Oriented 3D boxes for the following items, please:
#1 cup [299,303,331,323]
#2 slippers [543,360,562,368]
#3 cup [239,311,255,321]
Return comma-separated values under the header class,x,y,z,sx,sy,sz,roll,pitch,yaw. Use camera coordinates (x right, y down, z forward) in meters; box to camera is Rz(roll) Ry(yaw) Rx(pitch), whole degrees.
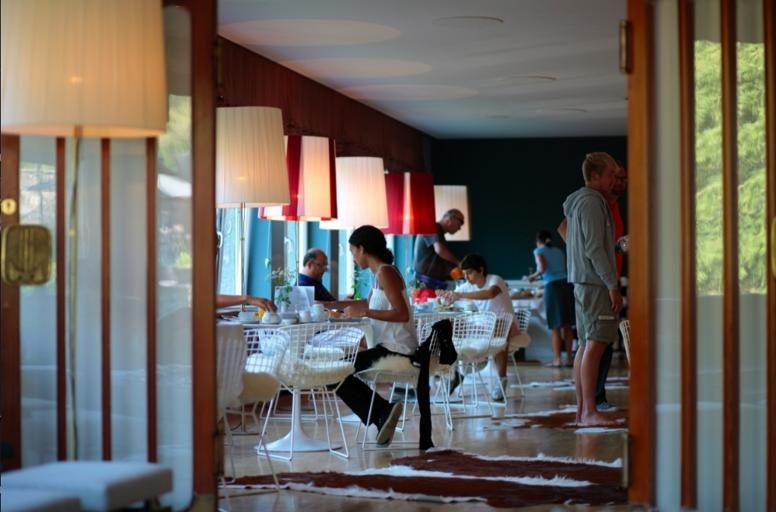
class,x,y,z,sx,sy,sz,roll,pitch,yaw
cup,-0.530,0.422,5.452,0.183,0.118,0.113,2,-9,-9
slippers,2.111,1.386,9.576,0.262,0.106,0.087,5,-4,14
cup,-0.987,0.417,5.170,0.081,0.051,0.061,-3,0,-3
